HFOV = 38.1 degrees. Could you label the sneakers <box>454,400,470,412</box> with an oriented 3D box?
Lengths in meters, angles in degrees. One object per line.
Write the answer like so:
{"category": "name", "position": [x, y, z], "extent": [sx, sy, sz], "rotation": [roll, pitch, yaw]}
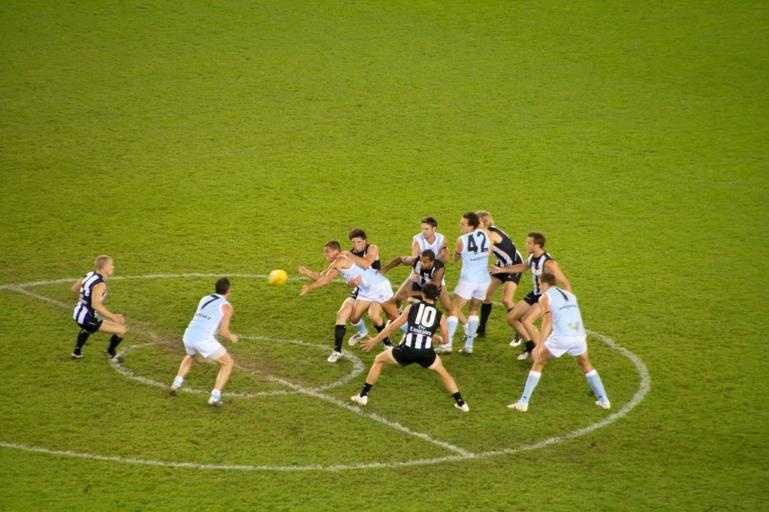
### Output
{"category": "sneakers", "position": [1.785, 3.527, 25.790], "extent": [0.185, 0.120, 0.348], "rotation": [-11, 5, -26]}

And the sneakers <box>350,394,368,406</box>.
{"category": "sneakers", "position": [-0.573, 3.377, 25.810], "extent": [0.353, 0.145, 0.248], "rotation": [9, 39, 35]}

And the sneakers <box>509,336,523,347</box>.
{"category": "sneakers", "position": [3.325, 2.201, 28.159], "extent": [0.171, 0.157, 0.435], "rotation": [6, 8, 27]}

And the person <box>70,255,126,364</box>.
{"category": "person", "position": [-6.824, 1.282, 26.553], "extent": [1.427, 2.528, 0.832], "rotation": [13, 23, 12]}

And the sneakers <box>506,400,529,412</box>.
{"category": "sneakers", "position": [3.143, 3.522, 25.940], "extent": [0.602, 0.197, 0.197], "rotation": [3, 3, 17]}

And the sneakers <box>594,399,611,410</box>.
{"category": "sneakers", "position": [5.122, 3.506, 26.073], "extent": [0.336, 0.263, 0.200], "rotation": [0, 17, 14]}
